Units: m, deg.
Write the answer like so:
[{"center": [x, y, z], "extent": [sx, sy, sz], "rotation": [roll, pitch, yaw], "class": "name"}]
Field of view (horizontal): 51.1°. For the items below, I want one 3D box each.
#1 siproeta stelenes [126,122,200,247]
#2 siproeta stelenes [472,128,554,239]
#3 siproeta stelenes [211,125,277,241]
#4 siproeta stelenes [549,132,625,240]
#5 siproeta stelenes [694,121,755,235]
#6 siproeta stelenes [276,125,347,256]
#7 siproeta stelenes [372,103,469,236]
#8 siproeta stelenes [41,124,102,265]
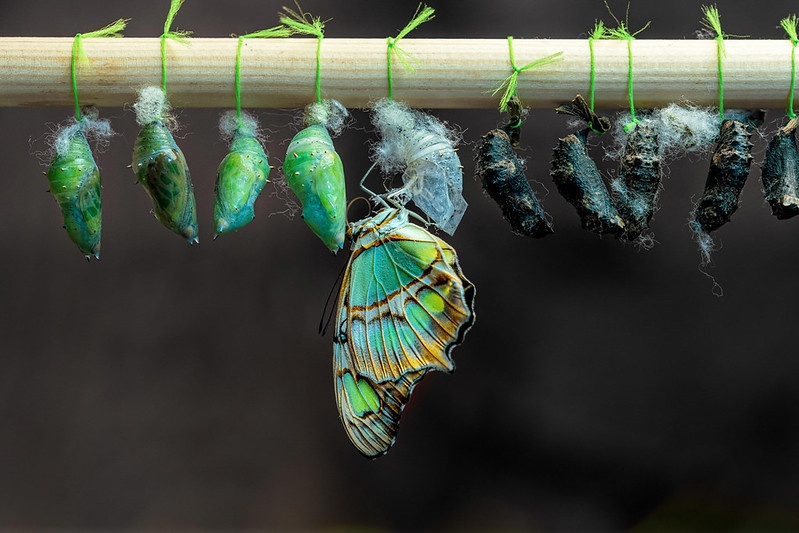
[{"center": [-0.657, -0.231, 2.323], "extent": [0.169, 0.346, 0.205], "rotation": [-4, 13, -16], "class": "siproeta stelenes"}, {"center": [0.330, -0.233, 2.427], "extent": [0.199, 0.308, 0.123], "rotation": [-27, 0, 13], "class": "siproeta stelenes"}, {"center": [-0.445, -0.236, 2.351], "extent": [0.157, 0.312, 0.247], "rotation": [-3, 13, -9], "class": "siproeta stelenes"}, {"center": [0.525, -0.229, 2.386], "extent": [0.145, 0.328, 0.108], "rotation": [-26, -26, -5], "class": "siproeta stelenes"}, {"center": [0.922, -0.257, 2.380], "extent": [0.138, 0.313, 0.115], "rotation": [5, 14, 21], "class": "siproeta stelenes"}, {"center": [-0.239, -0.219, 2.314], "extent": [0.167, 0.343, 0.173], "rotation": [-2, 13, -8], "class": "siproeta stelenes"}, {"center": [0.057, -0.311, 2.500], "extent": [0.263, 0.370, 0.153], "rotation": [-32, 11, 6], "class": "siproeta stelenes"}, {"center": [-0.917, -0.208, 2.354], "extent": [0.136, 0.351, 0.171], "rotation": [-6, 14, -22], "class": "siproeta stelenes"}]
